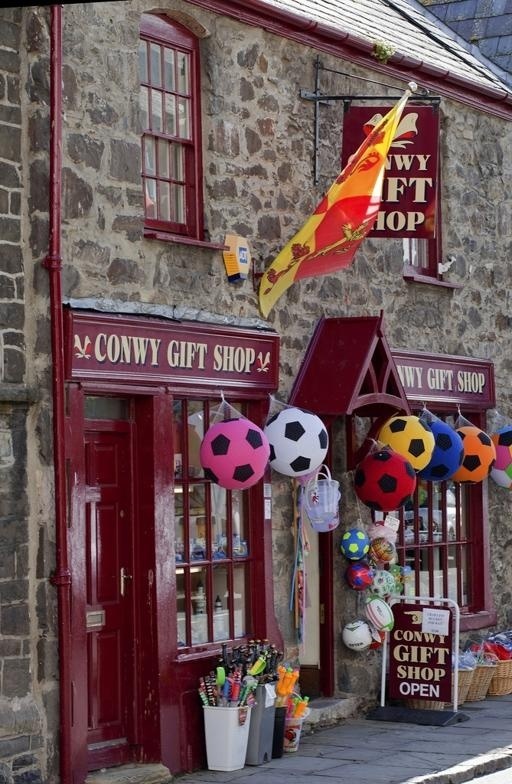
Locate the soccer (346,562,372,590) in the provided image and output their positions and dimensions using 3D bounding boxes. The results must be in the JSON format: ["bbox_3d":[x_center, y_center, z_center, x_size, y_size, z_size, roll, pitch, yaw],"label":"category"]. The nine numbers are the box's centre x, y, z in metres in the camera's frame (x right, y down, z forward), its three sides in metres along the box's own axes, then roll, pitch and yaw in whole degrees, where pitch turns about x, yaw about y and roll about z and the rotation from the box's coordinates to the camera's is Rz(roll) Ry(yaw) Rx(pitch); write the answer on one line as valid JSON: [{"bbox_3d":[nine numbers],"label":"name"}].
[{"bbox_3d":[0.803,1.422,8.009,0.186,0.237,0.191,-7,12,-22],"label":"soccer"}]

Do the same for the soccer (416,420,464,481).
[{"bbox_3d":[1.559,0.475,8.465,0.411,0.547,0.432,1,-2,13],"label":"soccer"}]

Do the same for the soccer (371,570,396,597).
[{"bbox_3d":[1.019,1.523,8.159,0.155,0.208,0.257,-4,-6,23],"label":"soccer"}]

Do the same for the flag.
[{"bbox_3d":[0.505,-1.308,7.176,1.045,1.318,0.321,-6,-7,39],"label":"flag"}]

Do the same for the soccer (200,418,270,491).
[{"bbox_3d":[-0.126,0.340,6.472,0.392,0.513,0.415,2,7,23],"label":"soccer"}]

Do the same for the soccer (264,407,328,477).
[{"bbox_3d":[0.239,0.371,6.978,0.411,0.538,0.435,-5,-6,-5],"label":"soccer"}]

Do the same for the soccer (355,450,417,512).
[{"bbox_3d":[0.999,0.630,7.687,0.428,0.551,0.430,-3,6,-19],"label":"soccer"}]

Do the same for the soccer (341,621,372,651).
[{"bbox_3d":[0.768,1.887,7.902,0.221,0.240,0.184,-6,-8,40],"label":"soccer"}]

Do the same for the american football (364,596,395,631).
[{"bbox_3d":[0.943,1.709,7.882,0.153,0.258,0.171,-15,-29,-54],"label":"american football"}]

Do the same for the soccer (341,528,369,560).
[{"bbox_3d":[0.775,1.174,7.970,0.229,0.233,0.215,-1,-6,1],"label":"soccer"}]

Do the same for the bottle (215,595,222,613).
[{"bbox_3d":[-0.260,1.425,6.924,0.009,0.107,0.071,-5,-7,34],"label":"bottle"}]

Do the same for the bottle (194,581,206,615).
[{"bbox_3d":[-0.375,1.353,6.775,0.027,0.193,0.129,-3,-6,24],"label":"bottle"}]
